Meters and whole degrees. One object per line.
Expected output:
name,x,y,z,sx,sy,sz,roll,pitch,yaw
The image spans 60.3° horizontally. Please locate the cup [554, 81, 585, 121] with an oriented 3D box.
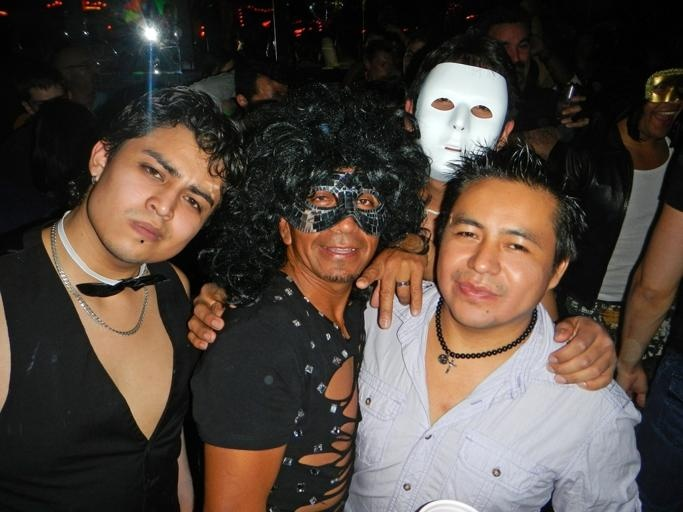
cup,1.820,-1.186,4.584,0.211,0.292,0.444,8,20,19
